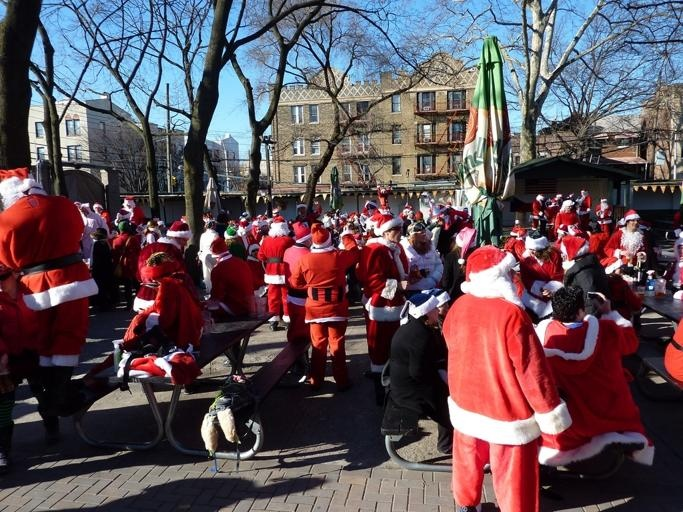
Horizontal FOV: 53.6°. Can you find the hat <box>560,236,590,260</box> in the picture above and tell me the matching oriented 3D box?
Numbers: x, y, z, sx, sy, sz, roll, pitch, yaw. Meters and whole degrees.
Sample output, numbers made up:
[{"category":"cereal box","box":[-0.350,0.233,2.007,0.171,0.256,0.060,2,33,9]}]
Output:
[{"category":"hat","box":[3.250,-0.127,9.402,0.272,0.181,0.397,-12,3,2]}]

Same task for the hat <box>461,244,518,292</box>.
[{"category":"hat","box":[1.369,0.093,6.469,0.523,0.366,0.409,-12,8,40]}]

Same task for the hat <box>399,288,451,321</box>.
[{"category":"hat","box":[0.893,0.503,7.212,0.440,0.193,0.330,-25,0,4]}]

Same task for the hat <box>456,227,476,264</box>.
[{"category":"hat","box":[1.772,-0.203,9.662,0.306,0.481,0.228,-19,-32,24]}]

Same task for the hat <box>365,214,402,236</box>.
[{"category":"hat","box":[0.582,-0.455,9.186,0.340,0.254,0.467,-8,3,-30]}]

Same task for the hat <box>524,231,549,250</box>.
[{"category":"hat","box":[2.636,-0.214,9.123,0.208,0.251,0.299,-1,2,7]}]

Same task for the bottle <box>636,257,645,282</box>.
[{"category":"bottle","box":[4.638,0.209,10.522,0.082,0.344,0.106,28,-22,-31]}]

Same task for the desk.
[{"category":"desk","box":[-1.811,1.549,7.774,1.443,0.731,1.836,3,6,6]}]

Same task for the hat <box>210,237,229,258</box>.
[{"category":"hat","box":[-1.634,-0.117,9.145,0.237,0.240,0.189,-5,4,12]}]

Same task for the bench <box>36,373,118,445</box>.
[{"category":"bench","box":[-3.174,1.656,7.462,1.092,0.342,0.759,-16,6,7]}]

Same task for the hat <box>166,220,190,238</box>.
[{"category":"hat","box":[-2.526,-0.403,10.515,0.353,0.253,0.298,1,3,15]}]

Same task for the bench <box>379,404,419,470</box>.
[{"category":"bench","box":[0.668,1.992,7.303,0.507,0.748,0.249,13,34,17]}]
